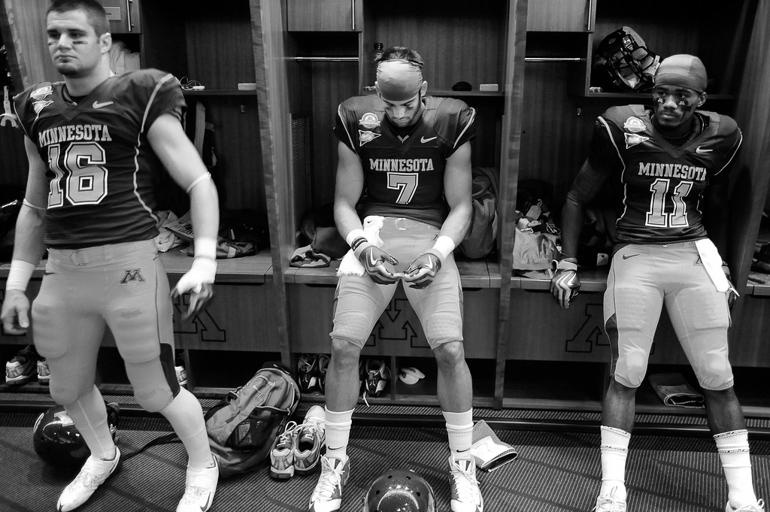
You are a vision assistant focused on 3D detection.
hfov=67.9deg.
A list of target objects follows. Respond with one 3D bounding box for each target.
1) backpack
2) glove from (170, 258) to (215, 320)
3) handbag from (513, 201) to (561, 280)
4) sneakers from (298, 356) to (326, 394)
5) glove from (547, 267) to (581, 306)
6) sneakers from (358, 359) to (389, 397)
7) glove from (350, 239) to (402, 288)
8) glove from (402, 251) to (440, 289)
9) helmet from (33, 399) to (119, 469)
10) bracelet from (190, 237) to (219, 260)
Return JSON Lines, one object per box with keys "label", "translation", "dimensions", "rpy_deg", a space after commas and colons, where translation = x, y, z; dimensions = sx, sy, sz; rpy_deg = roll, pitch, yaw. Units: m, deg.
{"label": "backpack", "translation": [-0.655, 0.810, 2.868], "dimensions": [0.307, 0.150, 0.509], "rpy_deg": [22, 60, 10]}
{"label": "glove", "translation": [-0.869, 0.146, 2.586], "dimensions": [0.188, 0.312, 0.092], "rpy_deg": [12, -11, -8]}
{"label": "handbag", "translation": [0.832, -0.091, 3.150], "dimensions": [0.281, 0.364, 0.157], "rpy_deg": [3, 5, 11]}
{"label": "sneakers", "translation": [-0.410, 0.657, 3.318], "dimensions": [0.142, 0.241, 0.147], "rpy_deg": [0, 3, 7]}
{"label": "glove", "translation": [0.923, 0.144, 2.920], "dimensions": [0.141, 0.185, 0.096], "rpy_deg": [2, 5, 8]}
{"label": "sneakers", "translation": [-0.072, 0.700, 3.293], "dimensions": [0.092, 0.114, 0.271], "rpy_deg": [0, 11, 8]}
{"label": "glove", "translation": [-0.054, 0.023, 2.741], "dimensions": [0.147, 0.093, 0.263], "rpy_deg": [-25, 61, -34]}
{"label": "glove", "translation": [0.180, 0.049, 2.667], "dimensions": [0.133, 0.074, 0.179], "rpy_deg": [-39, -1, 29]}
{"label": "helmet", "translation": [-1.487, 0.842, 2.883], "dimensions": [0.381, 0.301, 0.308], "rpy_deg": [-2, 17, -10]}
{"label": "bracelet", "translation": [-0.752, -0.032, 2.395], "dimensions": [0.087, 0.084, 0.080], "rpy_deg": [-1, 3, 0]}
